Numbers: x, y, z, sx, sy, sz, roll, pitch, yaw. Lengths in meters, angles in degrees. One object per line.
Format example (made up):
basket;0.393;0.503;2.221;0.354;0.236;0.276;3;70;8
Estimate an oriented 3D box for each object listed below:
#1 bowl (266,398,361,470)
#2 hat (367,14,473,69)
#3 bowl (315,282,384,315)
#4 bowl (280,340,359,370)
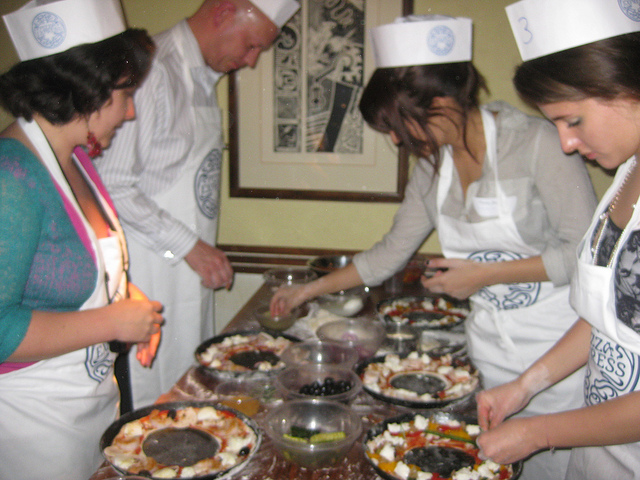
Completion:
bowl;-0.004;0.581;1.581;0.207;0.083;0.216;0;-4;0
hat;0.341;-0.656;1.886;0.322;0.134;0.203;-1;24;11
bowl;0.097;0.269;2.496;0.257;0.103;0.269;3;7;0
bowl;0.001;0.395;1.911;0.173;0.035;0.188;-1;14;0
